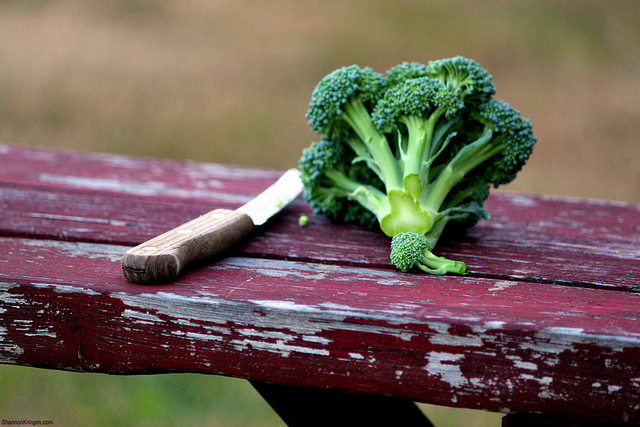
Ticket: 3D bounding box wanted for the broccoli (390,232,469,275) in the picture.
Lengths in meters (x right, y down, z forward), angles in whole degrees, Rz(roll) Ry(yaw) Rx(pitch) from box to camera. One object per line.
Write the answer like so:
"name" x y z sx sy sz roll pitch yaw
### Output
"broccoli" 0.406 0.147 2.502 0.244 0.118 0.142 9 -1 3
